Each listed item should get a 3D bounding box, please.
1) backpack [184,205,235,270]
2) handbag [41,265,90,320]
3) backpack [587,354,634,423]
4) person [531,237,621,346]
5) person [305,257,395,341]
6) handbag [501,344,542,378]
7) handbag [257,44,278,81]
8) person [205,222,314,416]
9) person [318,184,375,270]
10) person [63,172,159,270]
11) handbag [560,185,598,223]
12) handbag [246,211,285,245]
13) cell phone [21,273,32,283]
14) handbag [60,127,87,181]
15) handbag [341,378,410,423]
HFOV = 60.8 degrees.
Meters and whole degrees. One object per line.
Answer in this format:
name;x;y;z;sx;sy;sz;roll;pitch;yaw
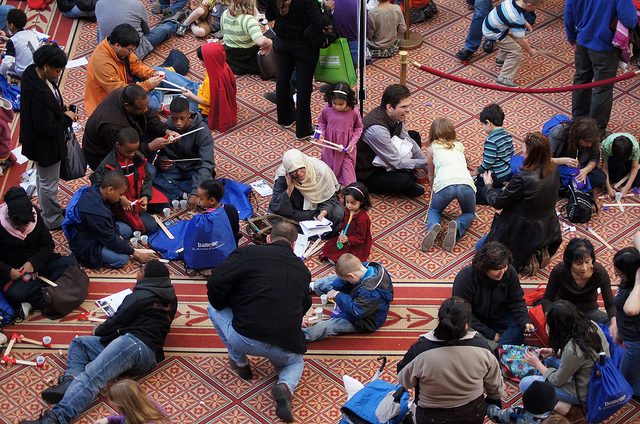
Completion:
backpack;-1.265;0.275;6.208;0.668;0.616;0.354;-11;11;-29
handbag;-2.827;0.886;6.032;0.363;0.423;0.648;8;18;3
backpack;2.489;1.558;4.834;0.472;0.523;0.173;-36;49;-7
person;2.508;0.818;5.401;0.815;1.331;0.785;-3;60;15
person;0.360;0.897;5.676;0.991;0.695;0.753;-4;52;12
handbag;1.948;1.443;5.330;0.321;0.114;0.309;-15;46;-28
handbag;-0.820;-2.281;8.372;0.289;0.489;0.229;-3;49;-14
person;-0.361;1.034;5.314;1.036;1.259;1.229;-31;61;-33
person;0.288;0.196;6.320;0.584;0.801;0.530;-10;52;-12
person;-2.447;0.040;6.472;1.043;1.033;0.868;12;16;-4
handbag;3.157;-0.073;6.720;0.377;0.271;0.354;23;48;9
handbag;-0.687;0.196;6.631;0.424;0.233;0.344;12;47;-1
cell phone;-3.110;0.691;5.791;0.082;0.079;0.040;-17;54;-25
handbag;-3.047;-0.692;6.729;0.293;0.524;0.726;-4;1;-4
handbag;0.487;1.645;4.829;0.421;0.176;0.414;-35;36;-29
